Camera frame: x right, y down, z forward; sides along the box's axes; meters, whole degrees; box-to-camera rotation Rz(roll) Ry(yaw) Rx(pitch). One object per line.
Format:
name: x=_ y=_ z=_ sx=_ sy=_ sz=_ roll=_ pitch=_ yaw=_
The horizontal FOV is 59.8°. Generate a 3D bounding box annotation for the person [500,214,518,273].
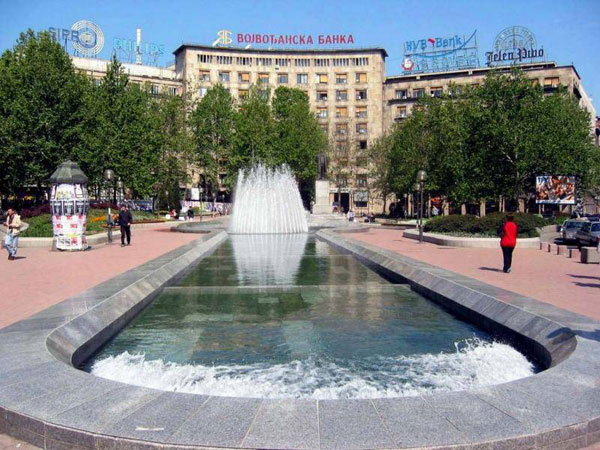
person: x=6.150 y=0.541 z=15.359 sx=0.423 sy=1.638 sz=2.024 roll=1 pitch=6 yaw=21

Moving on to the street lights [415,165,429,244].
street lights: x=6.388 y=-0.990 z=27.257 sx=0.606 sy=3.880 sz=0.656 roll=1 pitch=0 yaw=-2
